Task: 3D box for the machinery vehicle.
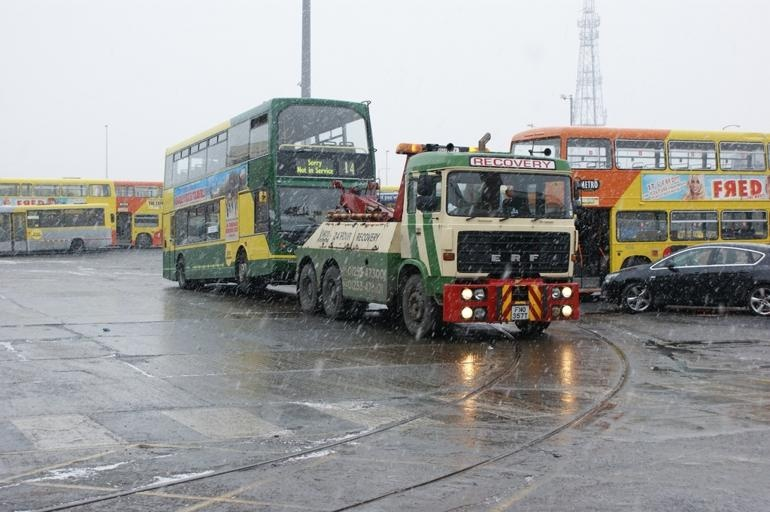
[{"bbox_3d":[0.533,-0.495,17.752,3.500,4.221,8.914,-1,1,-37],"label":"machinery vehicle"}]
